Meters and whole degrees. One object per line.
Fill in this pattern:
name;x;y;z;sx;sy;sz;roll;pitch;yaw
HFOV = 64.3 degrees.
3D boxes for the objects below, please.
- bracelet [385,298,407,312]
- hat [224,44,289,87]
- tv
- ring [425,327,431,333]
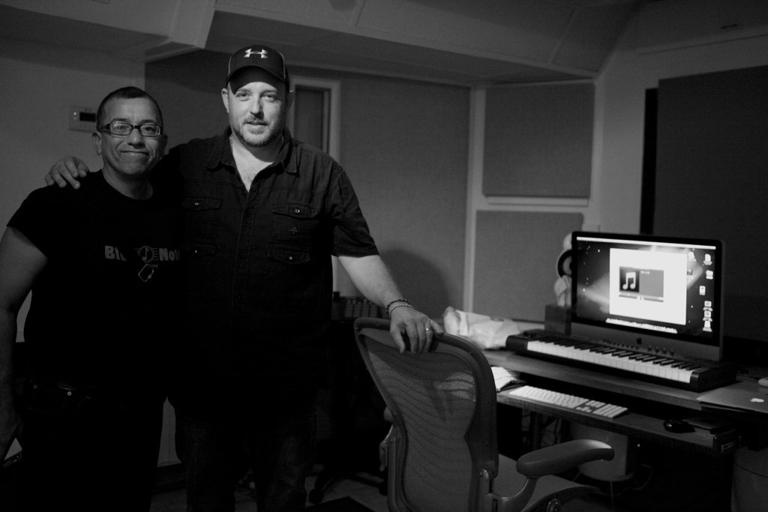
bracelet;0.039;0.164;2.112;0.053;0.019;0.053;-14;-3;4
hat;-0.459;-0.687;2.194;0.218;0.143;0.299;0;0;-13
tv;1.351;0.226;3.089;0.697;0.469;0.067;2;-4;44
ring;0.145;0.243;1.987;0.015;0.014;0.016;-1;-1;0
